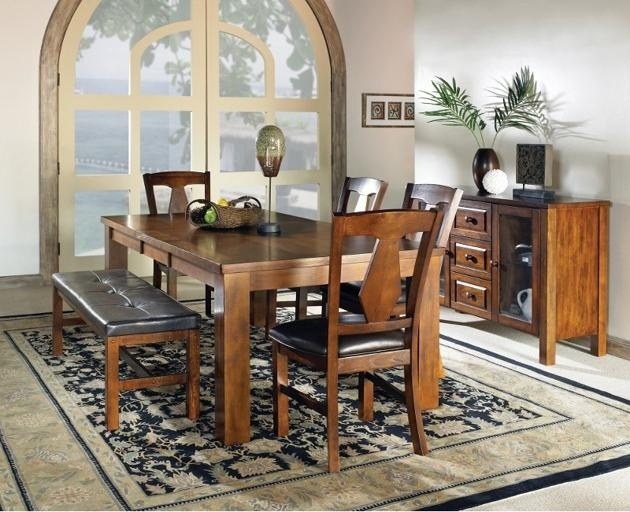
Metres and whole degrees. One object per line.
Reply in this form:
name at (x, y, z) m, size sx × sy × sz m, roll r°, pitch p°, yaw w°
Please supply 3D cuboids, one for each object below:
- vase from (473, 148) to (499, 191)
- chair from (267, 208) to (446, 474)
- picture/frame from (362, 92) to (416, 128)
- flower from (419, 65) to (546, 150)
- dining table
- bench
vase at (1.276, -0.636, 4.182) m, size 0.177 × 0.325 × 0.280 m, roll 3°, pitch 10°, yaw 6°
chair at (0.150, 0.301, 2.329) m, size 0.544 × 1.014 × 0.472 m, roll -3°, pitch 12°, yaw -23°
picture/frame at (0.898, -1.651, 6.430) m, size 0.755 × 0.354 × 0.029 m, roll 14°, pitch 21°, yaw 41°
flower at (1.306, -1.114, 4.288) m, size 0.817 × 0.373 × 0.784 m, roll -10°, pitch 12°, yaw -38°
dining table at (-0.207, 0.073, 2.782) m, size 1.225 × 0.732 × 2.022 m, roll -1°, pitch 5°, yaw -33°
bench at (-1.066, 0.392, 3.029) m, size 0.508 × 0.403 × 1.147 m, roll -5°, pitch 14°, yaw -33°
